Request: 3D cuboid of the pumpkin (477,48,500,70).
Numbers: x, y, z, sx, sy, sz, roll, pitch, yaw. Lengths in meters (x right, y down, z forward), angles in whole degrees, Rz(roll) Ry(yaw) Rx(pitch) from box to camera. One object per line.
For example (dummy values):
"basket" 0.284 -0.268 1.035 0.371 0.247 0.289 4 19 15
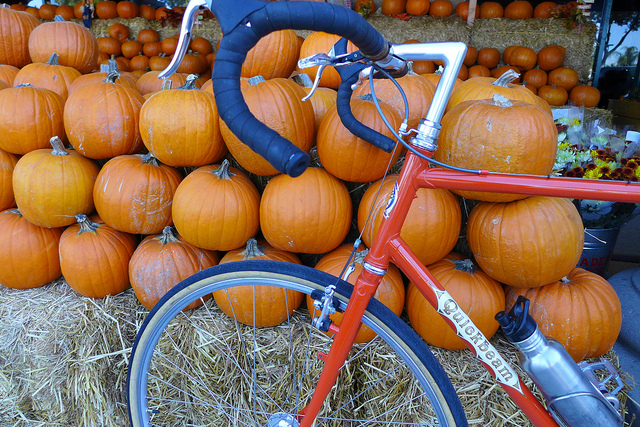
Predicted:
"pumpkin" 2.082 -1.959 6.476 0.233 0.243 0.233 -8 21 -33

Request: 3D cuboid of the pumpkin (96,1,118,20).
"pumpkin" -2.967 -2.839 7.119 0.276 0.239 0.179 -2 21 -22

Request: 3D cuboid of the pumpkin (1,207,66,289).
"pumpkin" -1.956 0.218 3.566 0.459 0.452 0.485 7 14 25

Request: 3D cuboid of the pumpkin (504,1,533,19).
"pumpkin" 2.540 -2.615 6.587 0.259 0.276 0.277 -4 39 2

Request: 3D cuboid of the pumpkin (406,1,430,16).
"pumpkin" 1.272 -2.710 6.663 0.206 0.206 0.212 -7 24 -14

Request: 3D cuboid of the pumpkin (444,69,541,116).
"pumpkin" 1.058 -0.781 3.340 0.634 0.295 0.308 8 15 -5

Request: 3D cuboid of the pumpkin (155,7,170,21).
"pumpkin" -2.145 -2.684 6.955 0.206 0.210 0.213 -2 3 -9

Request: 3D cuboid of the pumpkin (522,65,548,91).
"pumpkin" 2.617 -1.655 6.256 0.252 0.319 0.245 10 17 30

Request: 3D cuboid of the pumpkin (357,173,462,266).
"pumpkin" 0.527 -0.023 3.172 0.502 0.564 0.642 0 17 -11

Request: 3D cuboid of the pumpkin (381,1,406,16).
"pumpkin" 0.970 -2.769 6.790 0.229 0.234 0.235 23 33 39

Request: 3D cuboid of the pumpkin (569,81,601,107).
"pumpkin" 3.252 -1.436 6.263 0.300 0.303 0.322 5 -7 10

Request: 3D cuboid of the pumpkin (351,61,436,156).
"pumpkin" 0.562 -0.719 3.384 0.556 0.626 0.580 10 21 27

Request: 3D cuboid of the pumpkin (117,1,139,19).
"pumpkin" -2.645 -2.824 7.148 0.272 0.250 0.241 25 28 5

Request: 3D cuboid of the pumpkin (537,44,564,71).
"pumpkin" 2.800 -1.899 6.313 0.262 0.285 0.273 -11 5 1

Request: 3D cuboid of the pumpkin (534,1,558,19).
"pumpkin" 2.848 -2.597 6.523 0.235 0.234 0.239 -8 9 -23

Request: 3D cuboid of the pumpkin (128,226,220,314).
"pumpkin" -0.978 0.321 3.489 0.520 0.522 0.549 -4 8 5

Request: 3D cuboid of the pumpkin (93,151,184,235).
"pumpkin" -1.145 -0.180 3.439 0.501 0.492 0.525 12 16 25

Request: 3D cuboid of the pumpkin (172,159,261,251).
"pumpkin" -0.608 -0.065 3.323 0.521 0.523 0.549 10 24 8

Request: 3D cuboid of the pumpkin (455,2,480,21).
"pumpkin" 1.873 -2.629 6.721 0.295 0.308 0.304 18 28 41

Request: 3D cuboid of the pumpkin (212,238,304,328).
"pumpkin" -0.357 0.341 3.203 0.514 0.510 0.533 8 16 39

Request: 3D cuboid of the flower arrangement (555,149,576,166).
"flower arrangement" 1.673 -0.387 3.499 0.115 0.076 0.128 2 3 0

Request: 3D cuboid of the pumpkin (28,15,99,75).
"pumpkin" -2.121 -1.403 4.216 0.535 0.472 0.565 5 16 11

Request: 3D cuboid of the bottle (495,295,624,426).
"bottle" 1.204 0.750 2.591 0.242 0.958 0.279 -36 2 42

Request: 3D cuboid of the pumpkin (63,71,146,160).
"pumpkin" -1.489 -0.678 3.625 0.646 0.677 0.641 -9 10 -20

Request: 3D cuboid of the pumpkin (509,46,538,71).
"pumpkin" 2.532 -1.959 6.434 0.272 0.269 0.286 4 8 9

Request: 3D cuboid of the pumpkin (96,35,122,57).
"pumpkin" -2.775 -2.204 6.816 0.273 0.278 0.287 3 8 10

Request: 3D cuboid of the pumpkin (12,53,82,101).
"pumpkin" -2.023 -1.030 3.819 0.453 0.354 0.533 12 21 25

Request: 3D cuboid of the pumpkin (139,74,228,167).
"pumpkin" -0.861 -0.593 3.381 0.575 0.601 0.581 -7 19 -25

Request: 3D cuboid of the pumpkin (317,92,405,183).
"pumpkin" 0.225 -0.471 2.987 0.470 0.494 0.489 1 13 3

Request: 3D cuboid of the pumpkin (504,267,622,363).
"pumpkin" 1.481 0.571 3.220 0.622 0.607 0.663 13 -15 10

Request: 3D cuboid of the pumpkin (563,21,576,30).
"pumpkin" 3.082 -2.336 6.327 0.088 0.050 0.092 2 -4 -10

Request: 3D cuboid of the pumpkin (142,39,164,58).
"pumpkin" -2.210 -2.194 6.769 0.210 0.200 0.206 -1 2 -42

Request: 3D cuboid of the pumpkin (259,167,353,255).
"pumpkin" -0.096 -0.017 3.105 0.569 0.490 0.423 38 44 28

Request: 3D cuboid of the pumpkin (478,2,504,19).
"pumpkin" 2.206 -2.660 6.677 0.247 0.250 0.256 15 27 37

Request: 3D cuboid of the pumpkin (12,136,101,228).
"pumpkin" -1.764 -0.205 3.427 0.530 0.613 0.276 -2 21 -20

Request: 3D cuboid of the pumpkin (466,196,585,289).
"pumpkin" 1.241 0.090 3.181 0.683 0.658 0.724 -1 22 26

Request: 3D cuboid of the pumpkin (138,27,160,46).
"pumpkin" -2.301 -2.359 6.888 0.208 0.205 0.207 0 1 -43

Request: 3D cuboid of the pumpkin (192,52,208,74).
"pumpkin" -1.423 -1.849 6.262 0.261 0.277 0.267 1 4 -7

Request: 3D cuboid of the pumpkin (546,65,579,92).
"pumpkin" 2.968 -1.658 6.298 0.279 0.294 0.294 9 23 10

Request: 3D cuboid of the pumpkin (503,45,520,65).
"pumpkin" 2.370 -2.014 6.460 0.193 0.202 0.195 -11 25 -5

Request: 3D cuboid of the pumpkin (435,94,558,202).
"pumpkin" 0.944 -0.414 3.031 0.546 0.598 0.722 0 18 -16

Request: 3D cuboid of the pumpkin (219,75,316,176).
"pumpkin" -0.263 -0.530 3.252 0.539 0.667 0.574 -22 9 18
